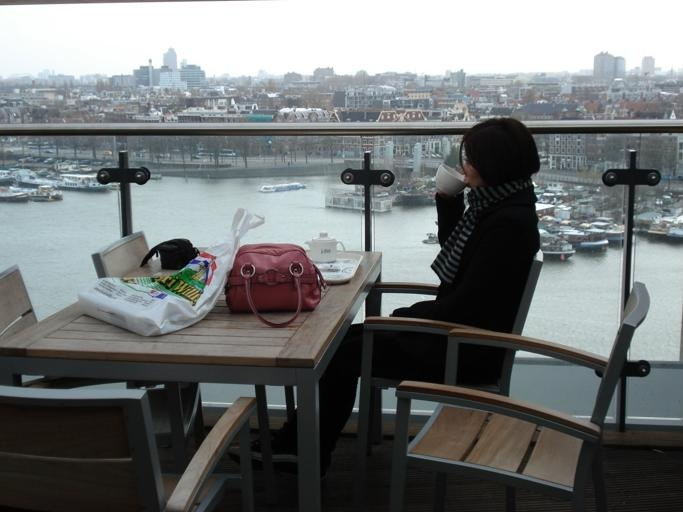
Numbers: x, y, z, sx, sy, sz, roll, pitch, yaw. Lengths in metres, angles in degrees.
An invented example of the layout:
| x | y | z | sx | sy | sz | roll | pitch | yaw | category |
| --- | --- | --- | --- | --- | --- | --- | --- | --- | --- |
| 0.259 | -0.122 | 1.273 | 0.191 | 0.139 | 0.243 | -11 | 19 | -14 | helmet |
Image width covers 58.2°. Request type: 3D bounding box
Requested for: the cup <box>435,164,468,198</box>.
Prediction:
| x | y | z | sx | sy | sz | roll | pitch | yaw | category |
| --- | --- | --- | --- | --- | --- | --- | --- | --- | --- |
| 0.439 | -0.296 | 2.537 | 0.124 | 0.081 | 0.124 | 27 | 9 | -4 | cup |

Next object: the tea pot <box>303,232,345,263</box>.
| x | y | z | sx | sy | sz | roll | pitch | yaw | category |
| --- | --- | --- | --- | --- | --- | --- | --- | --- | --- |
| -0.060 | -0.066 | 2.372 | 0.181 | 0.130 | 0.110 | 0 | 8 | -2 | tea pot |

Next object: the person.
| x | y | z | sx | sy | sz | roll | pitch | yaw | category |
| --- | --- | --- | --- | --- | --- | --- | --- | --- | --- |
| 0.422 | -0.079 | 3.031 | 1.508 | 1.889 | 0.783 | 4 | 8 | 8 | person |

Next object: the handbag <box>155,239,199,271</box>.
| x | y | z | sx | sy | sz | roll | pitch | yaw | category |
| --- | --- | --- | --- | --- | --- | --- | --- | --- | --- |
| -0.627 | -0.008 | 2.329 | 0.120 | 0.100 | 0.142 | 0 | 8 | 5 | handbag |

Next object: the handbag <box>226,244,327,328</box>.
| x | y | z | sx | sy | sz | roll | pitch | yaw | category |
| --- | --- | --- | --- | --- | --- | --- | --- | --- | --- |
| -0.207 | 0.079 | 1.861 | 0.262 | 0.176 | 0.241 | -1 | -2 | -3 | handbag |
